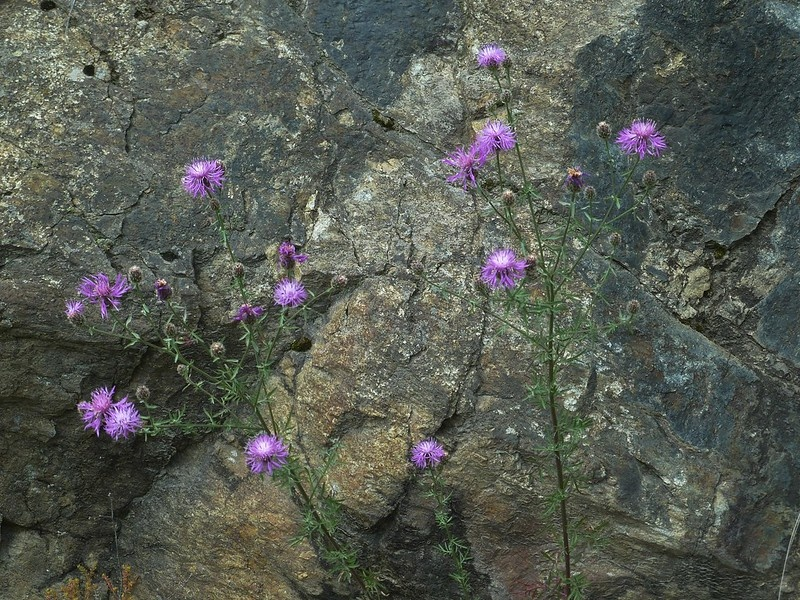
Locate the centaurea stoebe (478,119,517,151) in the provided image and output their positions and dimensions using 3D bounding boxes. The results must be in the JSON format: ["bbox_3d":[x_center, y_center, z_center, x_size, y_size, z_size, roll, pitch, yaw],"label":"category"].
[{"bbox_3d":[0.539,-0.888,7.170,0.146,0.189,0.105,-2,-11,1],"label":"centaurea stoebe"}]

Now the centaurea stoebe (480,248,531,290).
[{"bbox_3d":[0.568,-0.155,7.096,0.223,0.235,0.207,24,19,3],"label":"centaurea stoebe"}]

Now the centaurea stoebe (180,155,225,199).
[{"bbox_3d":[-1.092,-0.712,7.372,0.185,0.282,0.237,2,9,17],"label":"centaurea stoebe"}]

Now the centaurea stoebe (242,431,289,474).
[{"bbox_3d":[-0.720,0.803,7.269,0.263,0.167,0.300,15,4,11],"label":"centaurea stoebe"}]

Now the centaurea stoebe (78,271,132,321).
[{"bbox_3d":[-1.652,-0.008,7.410,0.262,0.221,0.315,-13,53,-9],"label":"centaurea stoebe"}]

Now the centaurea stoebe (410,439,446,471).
[{"bbox_3d":[0.167,0.883,7.655,0.149,0.133,0.175,0,35,26],"label":"centaurea stoebe"}]

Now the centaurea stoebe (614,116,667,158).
[{"bbox_3d":[1.329,-0.929,7.272,0.234,0.143,0.235,9,-5,-26],"label":"centaurea stoebe"}]
